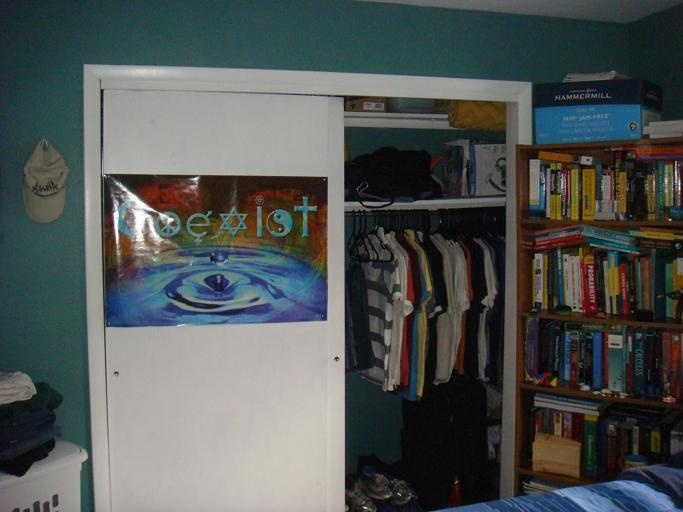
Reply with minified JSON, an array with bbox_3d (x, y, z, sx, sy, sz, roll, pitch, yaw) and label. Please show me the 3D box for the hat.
[{"bbox_3d":[-1.482,-0.379,3.127,0.219,0.405,0.095,-2,6,-15],"label":"hat"}]
